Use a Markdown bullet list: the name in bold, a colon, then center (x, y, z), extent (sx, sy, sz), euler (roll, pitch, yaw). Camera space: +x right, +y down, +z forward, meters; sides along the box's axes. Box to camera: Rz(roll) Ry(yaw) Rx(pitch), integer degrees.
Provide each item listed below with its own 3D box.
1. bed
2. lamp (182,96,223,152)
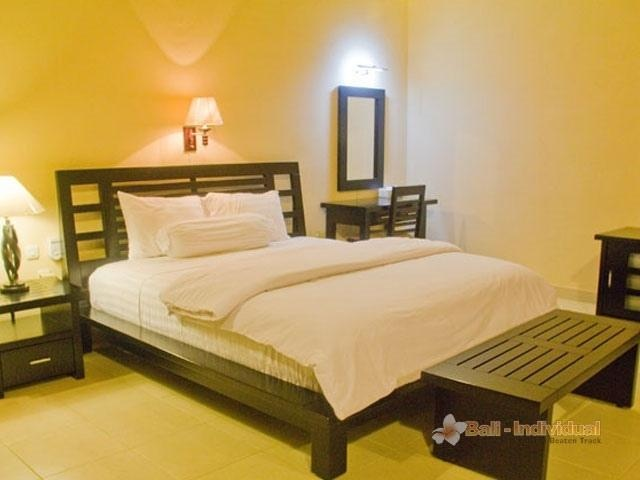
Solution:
- **bed**: center (-0.128, 0.280, 3.360), extent (2.832, 1.160, 2.003), euler (8, 13, 38)
- **lamp**: center (-1.015, -0.982, 4.135), extent (0.325, 0.461, 0.310), euler (-5, 12, -25)
